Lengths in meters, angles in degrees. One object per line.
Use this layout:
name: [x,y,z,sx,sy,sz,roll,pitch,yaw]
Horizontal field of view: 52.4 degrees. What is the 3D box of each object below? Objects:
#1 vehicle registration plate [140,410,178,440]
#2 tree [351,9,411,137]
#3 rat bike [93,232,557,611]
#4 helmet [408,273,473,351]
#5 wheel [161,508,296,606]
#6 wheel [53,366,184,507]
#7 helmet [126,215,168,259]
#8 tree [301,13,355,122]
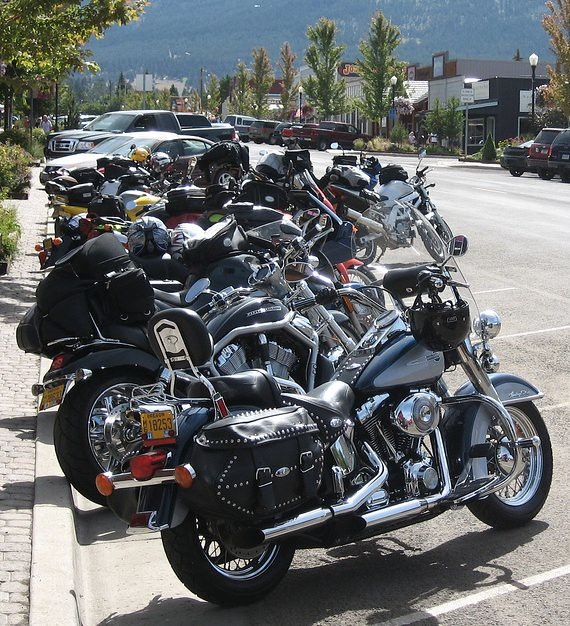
vehicle registration plate: [-0.453,0.395,2.074,0.132,0.103,0.024,-1,3,-4]
tree: [11.595,-30.336,71.369,5.264,13.911,4.216,-2,-2,13]
rat bike: [0.297,0.555,3.535,3.211,1.681,1.218,-5,4,-43]
helmet: [0.833,0.000,3.118,0.332,0.397,0.235,-9,13,-17]
wheel: [-0.174,1.076,2.698,0.454,0.126,0.463,-16,-7,-2]
wheel: [-1.262,0.814,3.843,0.247,0.598,0.626,-19,-4,9]
helmet: [-1.175,-0.652,5.034,0.387,0.354,0.451,-10,1,-17]
tree: [5.932,-37.703,88.343,5.367,16.616,4.424,-3,-2,34]
